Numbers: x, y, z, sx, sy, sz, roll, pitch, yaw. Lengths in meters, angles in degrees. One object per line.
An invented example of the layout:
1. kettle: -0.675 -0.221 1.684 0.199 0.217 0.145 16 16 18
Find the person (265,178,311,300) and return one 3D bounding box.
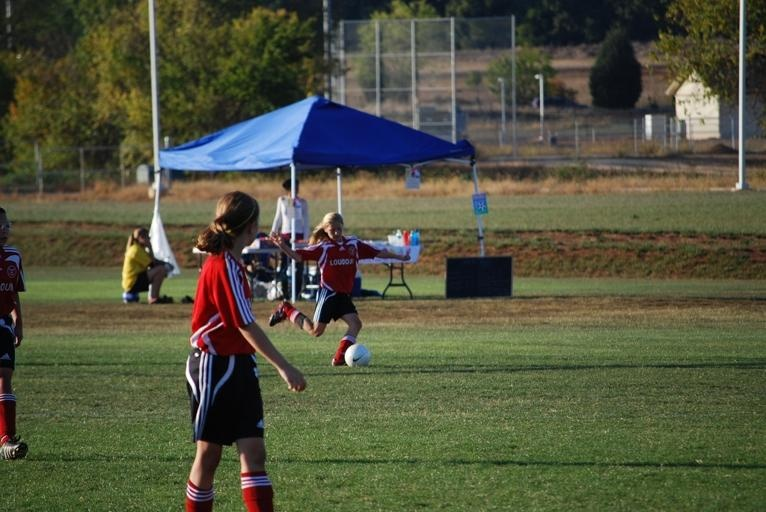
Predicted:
1. person: -2.607 -0.416 52.704 0.996 3.434 0.779 -1 -2 -8

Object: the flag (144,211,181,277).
1. flag: -6.396 -0.338 55.145 0.903 2.054 0.785 5 -5 4

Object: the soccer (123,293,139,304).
1. soccer: -7.060 1.167 52.754 0.399 0.281 0.394 6 -6 25

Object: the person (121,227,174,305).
1. person: -6.632 0.440 52.624 1.341 2.449 1.041 -1 -1 5
